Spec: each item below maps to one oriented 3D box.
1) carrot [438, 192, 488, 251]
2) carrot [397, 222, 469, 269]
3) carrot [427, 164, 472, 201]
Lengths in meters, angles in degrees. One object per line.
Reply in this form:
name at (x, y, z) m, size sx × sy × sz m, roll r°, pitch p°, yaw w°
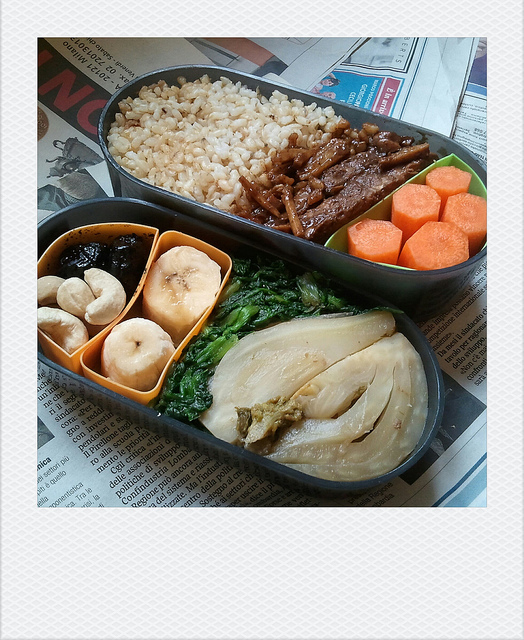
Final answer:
carrot at (0.616, -0.297, 1.755) m, size 0.143 × 0.129 × 0.134 m, roll 29°, pitch 59°, yaw 18°
carrot at (0.515, -0.218, 1.783) m, size 0.163 × 0.160 × 0.157 m, roll 30°, pitch 89°, yaw 8°
carrot at (0.590, -0.441, 1.841) m, size 0.130 × 0.042 × 0.122 m, roll 26°, pitch 74°, yaw 17°
